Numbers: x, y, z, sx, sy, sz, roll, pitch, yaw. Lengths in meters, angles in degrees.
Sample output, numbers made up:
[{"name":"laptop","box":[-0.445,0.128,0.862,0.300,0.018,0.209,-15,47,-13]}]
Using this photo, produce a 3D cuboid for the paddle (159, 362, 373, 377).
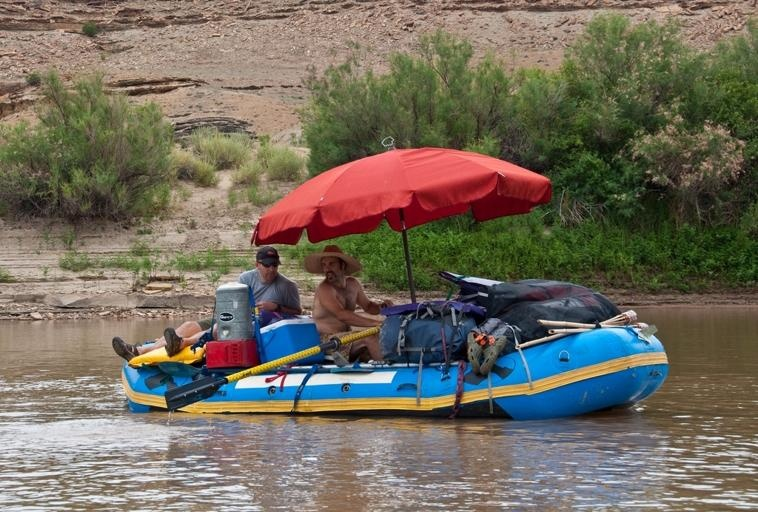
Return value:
[{"name":"paddle","box":[-3.142,3.372,47.587,5.664,0.511,0.384,1,-4,4]}]

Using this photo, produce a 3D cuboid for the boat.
[{"name":"boat","box":[1.119,3.892,47.300,12.283,1.818,5.232,-2,-5,14]}]

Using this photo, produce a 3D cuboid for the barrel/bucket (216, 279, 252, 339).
[{"name":"barrel/bucket","box":[-4.382,1.652,48.153,1.444,1.860,1.228,-1,3,13]}]

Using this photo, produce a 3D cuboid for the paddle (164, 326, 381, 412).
[{"name":"paddle","box":[-3.127,3.430,47.585,7.072,0.698,0.720,-14,-27,1]}]
